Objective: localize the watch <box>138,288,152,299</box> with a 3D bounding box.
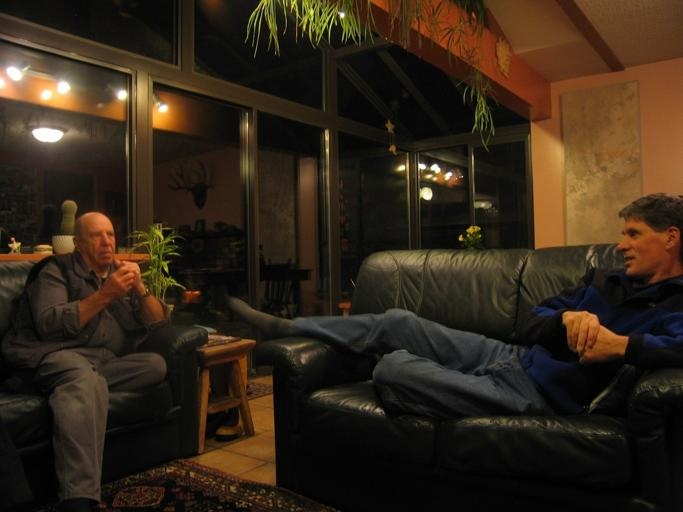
[{"bbox_3d":[-1.153,0.213,3.301,0.059,0.043,0.064,-9,4,5],"label":"watch"}]
